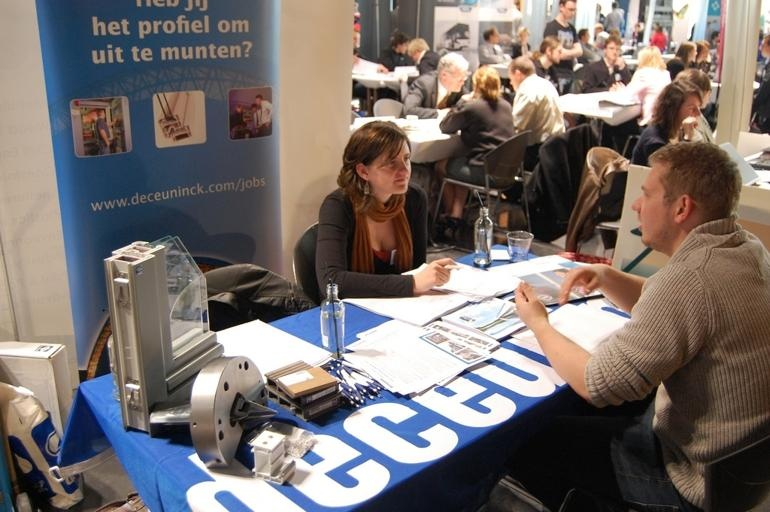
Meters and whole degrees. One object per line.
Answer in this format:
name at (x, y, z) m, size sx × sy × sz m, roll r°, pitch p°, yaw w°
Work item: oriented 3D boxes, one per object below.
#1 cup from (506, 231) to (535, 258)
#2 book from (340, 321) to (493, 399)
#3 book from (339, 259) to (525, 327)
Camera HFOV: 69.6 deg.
cup at (0.651, -0.055, 2.718) m, size 0.124 × 0.135 × 0.131 m, roll -3°, pitch 13°, yaw 1°
book at (0.115, 0.341, 1.948) m, size 0.287 × 0.015 × 0.260 m, roll -25°, pitch 35°, yaw -37°
book at (0.251, 0.158, 2.328) m, size 0.284 × 0.038 × 0.454 m, roll 15°, pitch 25°, yaw 38°
